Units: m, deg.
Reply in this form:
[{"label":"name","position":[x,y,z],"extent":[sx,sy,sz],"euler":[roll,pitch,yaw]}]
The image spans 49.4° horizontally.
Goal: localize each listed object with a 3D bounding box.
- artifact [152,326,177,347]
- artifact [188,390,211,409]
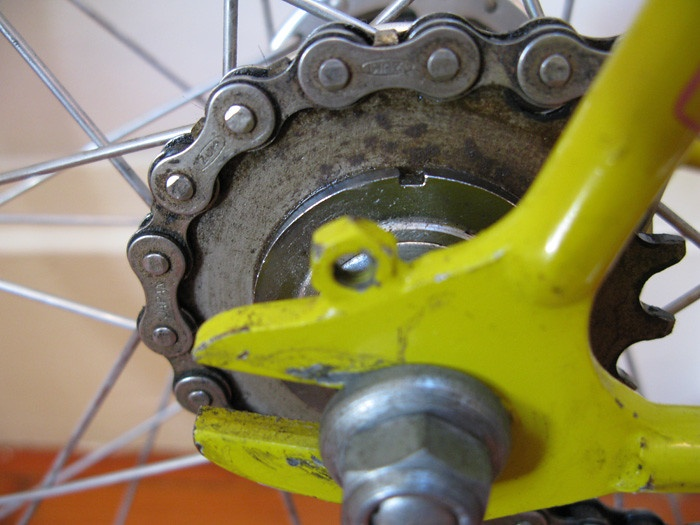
[{"label":"artifact","position":[-0.335,0.134,1.378],"extent":[0.036,0.009,0.037],"euler":[-27,-60,27]},{"label":"artifact","position":[-0.279,0.252,1.415],"extent":[0.029,0.012,0.030],"euler":[29,-61,-11]}]
